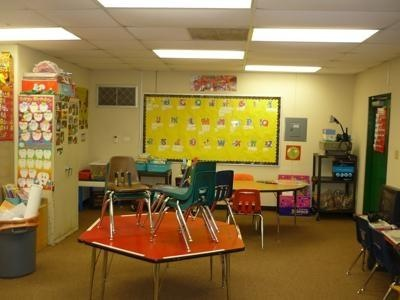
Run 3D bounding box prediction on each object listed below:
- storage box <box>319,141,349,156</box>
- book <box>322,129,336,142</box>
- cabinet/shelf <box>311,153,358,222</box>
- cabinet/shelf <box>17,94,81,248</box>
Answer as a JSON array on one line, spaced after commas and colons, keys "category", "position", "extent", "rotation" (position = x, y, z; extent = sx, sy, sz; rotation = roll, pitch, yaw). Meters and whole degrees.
[{"category": "storage box", "position": [3.208, -0.045, 7.601], "extent": [0.658, 0.355, 0.237], "rotation": [2, 7, 7]}, {"category": "book", "position": [3.052, -0.354, 7.731], "extent": [0.344, 0.360, 0.260], "rotation": [0, 0, -1]}, {"category": "cabinet/shelf", "position": [3.200, 0.852, 7.743], "extent": [1.015, 1.513, 0.804], "rotation": [2, 7, 10]}, {"category": "cabinet/shelf", "position": [-2.682, 0.334, 5.819], "extent": [1.065, 2.631, 0.667], "rotation": [-3, 8, -34]}]
